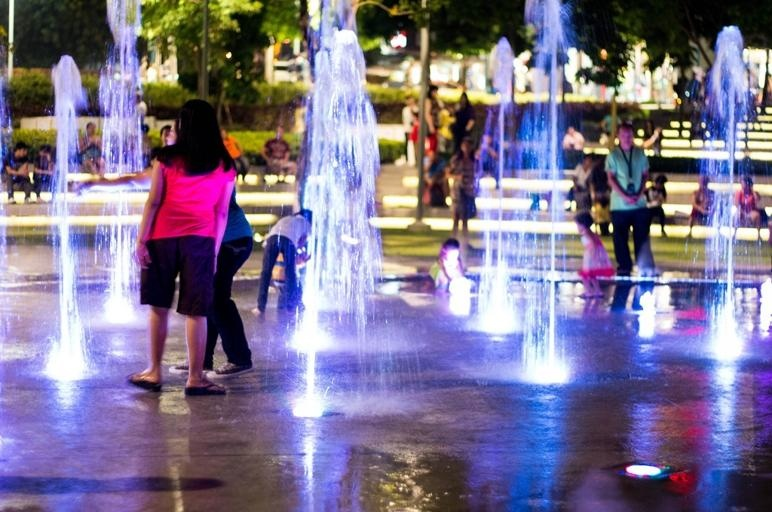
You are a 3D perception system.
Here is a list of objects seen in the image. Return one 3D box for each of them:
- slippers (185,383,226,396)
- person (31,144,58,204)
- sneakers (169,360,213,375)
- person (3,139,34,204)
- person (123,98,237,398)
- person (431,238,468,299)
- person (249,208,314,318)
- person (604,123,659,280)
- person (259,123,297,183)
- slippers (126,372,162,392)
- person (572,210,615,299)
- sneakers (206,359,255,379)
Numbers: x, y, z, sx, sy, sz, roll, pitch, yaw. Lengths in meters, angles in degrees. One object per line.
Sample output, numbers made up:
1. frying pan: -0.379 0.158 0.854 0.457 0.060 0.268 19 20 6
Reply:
1. slippers: -1.990 1.447 13.806 0.436 0.167 0.160 -1 -2 -12
2. person: -7.892 -2.010 28.826 0.451 1.180 1.396 -2 13 -13
3. sneakers: -2.276 1.286 14.582 0.474 0.198 0.191 1 -2 -3
4. person: -8.300 -1.900 28.272 0.610 1.145 1.367 -3 13 -16
5. person: -2.220 -0.096 13.715 1.094 3.219 0.604 -1 12 -8
6. person: 0.997 0.199 19.429 0.516 0.846 0.395 5 6 30
7. person: -1.362 0.095 16.816 0.728 1.467 0.991 -2 12 -11
8. person: 3.881 -0.898 20.181 0.721 2.603 1.452 5 13 18
9. person: -2.936 -2.760 33.808 0.807 1.495 0.890 8 -4 -32
10. slippers: -2.693 1.414 14.015 0.408 0.167 0.150 19 15 23
11. person: 3.194 -0.020 19.260 0.620 1.230 0.920 2 12 8
12. sneakers: -1.825 1.316 14.547 0.508 0.189 0.206 2 -3 -19
